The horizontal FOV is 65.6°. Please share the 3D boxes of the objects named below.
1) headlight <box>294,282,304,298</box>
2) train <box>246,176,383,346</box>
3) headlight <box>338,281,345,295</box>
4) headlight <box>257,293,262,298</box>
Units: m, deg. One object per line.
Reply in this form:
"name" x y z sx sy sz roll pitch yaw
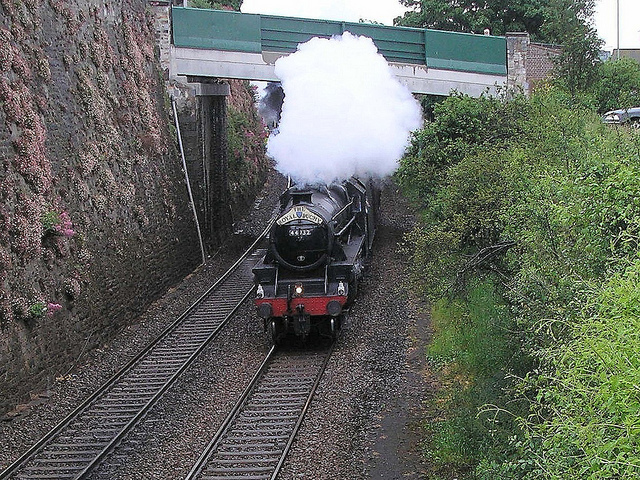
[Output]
"headlight" -0.583 1.385 13.833 0.366 0.341 0.556 -1 -6 6
"train" 0.065 0.389 15.856 2.623 4.528 5.611 1 13 16
"headlight" 0.604 1.360 13.841 0.192 0.547 0.203 -7 25 -10
"headlight" -1.679 1.557 13.822 0.098 0.040 0.114 6 22 33
